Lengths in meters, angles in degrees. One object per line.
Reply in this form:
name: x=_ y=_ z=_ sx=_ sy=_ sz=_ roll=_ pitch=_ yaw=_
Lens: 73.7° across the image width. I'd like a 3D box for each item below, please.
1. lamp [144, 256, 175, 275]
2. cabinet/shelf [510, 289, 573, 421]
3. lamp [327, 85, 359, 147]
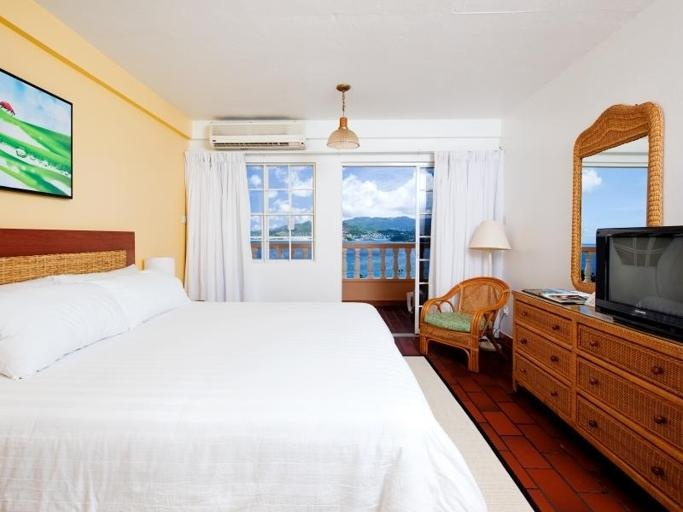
lamp: x=-1.800 y=0.088 z=4.499 sx=0.235 sy=0.180 sz=0.224 roll=2 pitch=-3 yaw=-40
cabinet/shelf: x=1.551 y=0.770 z=3.504 sx=0.367 sy=0.912 sz=0.954 roll=1 pitch=-1 yaw=2
lamp: x=0.043 y=-1.408 z=4.658 sx=0.292 sy=0.605 sz=0.827 roll=7 pitch=12 yaw=-1
